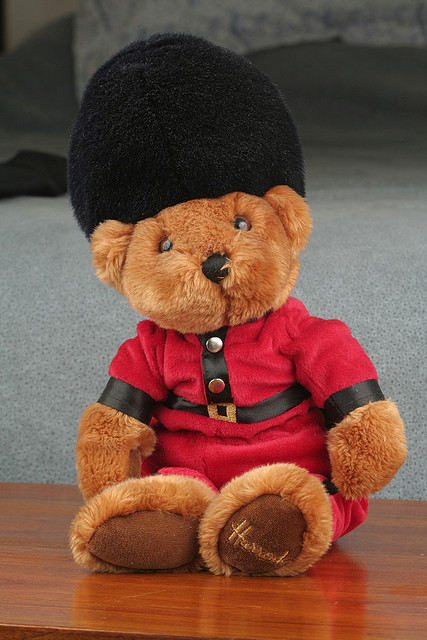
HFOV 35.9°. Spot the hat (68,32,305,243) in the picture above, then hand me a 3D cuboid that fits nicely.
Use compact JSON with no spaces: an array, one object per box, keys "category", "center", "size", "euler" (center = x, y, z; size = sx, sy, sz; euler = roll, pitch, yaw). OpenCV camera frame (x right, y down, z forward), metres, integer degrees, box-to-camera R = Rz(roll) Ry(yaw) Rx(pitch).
[{"category":"hat","center":[-0.004,-0.160,0.677],"size":[0.195,0.154,0.194],"euler":[-16,-7,7]}]

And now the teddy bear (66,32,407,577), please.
[{"category":"teddy bear","center":[0.001,-0.023,0.593],"size":[0.282,0.420,0.354],"euler":[-3,28,-13]}]
